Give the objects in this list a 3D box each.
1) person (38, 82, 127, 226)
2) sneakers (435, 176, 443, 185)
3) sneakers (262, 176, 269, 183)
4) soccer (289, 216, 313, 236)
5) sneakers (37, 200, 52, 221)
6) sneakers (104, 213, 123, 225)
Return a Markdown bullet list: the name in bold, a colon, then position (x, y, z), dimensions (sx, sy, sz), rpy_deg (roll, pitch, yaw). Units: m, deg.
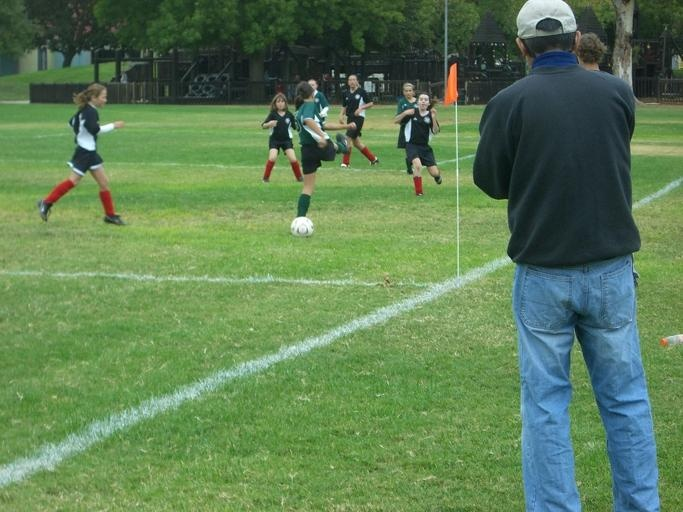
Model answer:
- **person**: position (-3.358, -1.344, 13.647), dimensions (1.143, 1.862, 0.830), rpy_deg (5, 11, 28)
- **sneakers**: position (1.652, -1.275, 17.408), dimensions (0.082, 0.218, 0.075), rpy_deg (7, 40, 36)
- **sneakers**: position (-1.355, -1.374, 18.570), dimensions (0.084, 0.104, 0.140), rpy_deg (2, 5, -17)
- **soccer**: position (-0.496, -0.368, 12.845), dimensions (0.236, 0.253, 0.235), rpy_deg (0, 2, 1)
- **sneakers**: position (-4.014, -0.613, 13.904), dimensions (0.179, 0.272, 0.089), rpy_deg (-3, 7, 22)
- **sneakers**: position (-3.051, -0.478, 13.849), dimensions (0.313, 0.148, 0.123), rpy_deg (10, 17, 10)
